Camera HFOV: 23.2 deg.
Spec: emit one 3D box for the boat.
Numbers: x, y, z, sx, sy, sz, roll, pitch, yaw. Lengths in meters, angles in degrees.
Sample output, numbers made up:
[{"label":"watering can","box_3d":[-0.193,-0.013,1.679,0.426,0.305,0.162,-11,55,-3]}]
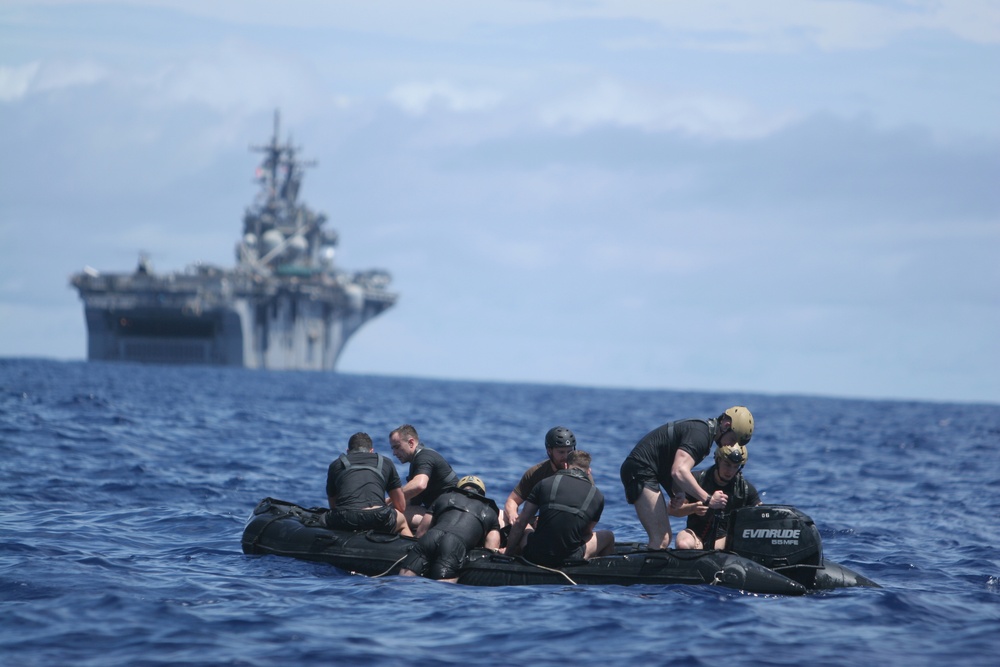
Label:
[{"label":"boat","box_3d":[2.903,10.071,109.087,28.531,3.913,8.822,1,-6,7]}]
